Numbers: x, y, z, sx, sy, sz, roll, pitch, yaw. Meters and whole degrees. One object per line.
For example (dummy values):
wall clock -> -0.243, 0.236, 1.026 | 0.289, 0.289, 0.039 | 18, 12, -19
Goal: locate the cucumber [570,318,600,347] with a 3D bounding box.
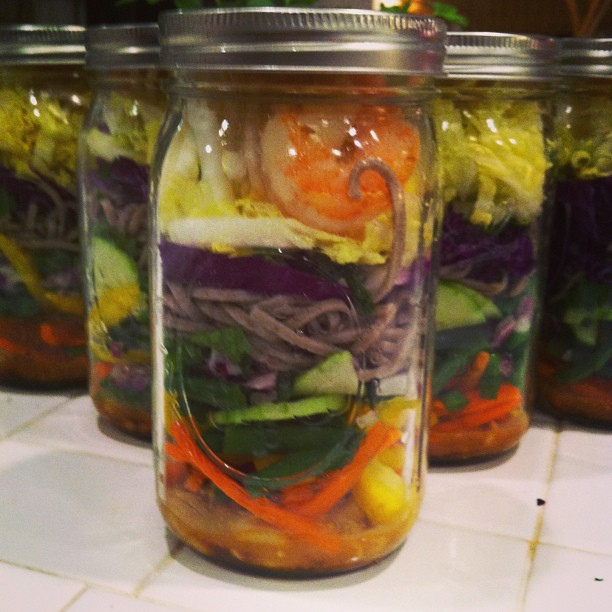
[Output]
cucumber -> 0.267, 0.028, 0.737 | 0.004, 0.028, 0.026 | -6, 57, -54

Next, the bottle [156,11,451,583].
bottle -> -0.003, 0.004, 0.525 | 0.224, 0.383, 0.103 | -7, 17, -9

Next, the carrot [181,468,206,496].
carrot -> -0.076, 0.120, 0.534 | 0.021, 0.016, 0.006 | 24, 21, 25

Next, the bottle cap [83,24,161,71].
bottle cap -> -0.144, -0.203, 0.612 | 0.094, 0.031, 0.076 | -1, 12, -5

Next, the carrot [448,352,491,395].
carrot -> 0.137, 0.056, 0.640 | 0.030, 0.039, 0.012 | 29, 4, -11

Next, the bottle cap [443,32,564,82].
bottle cap -> 0.152, -0.178, 0.608 | 0.090, 0.022, 0.073 | 1, 13, 2
